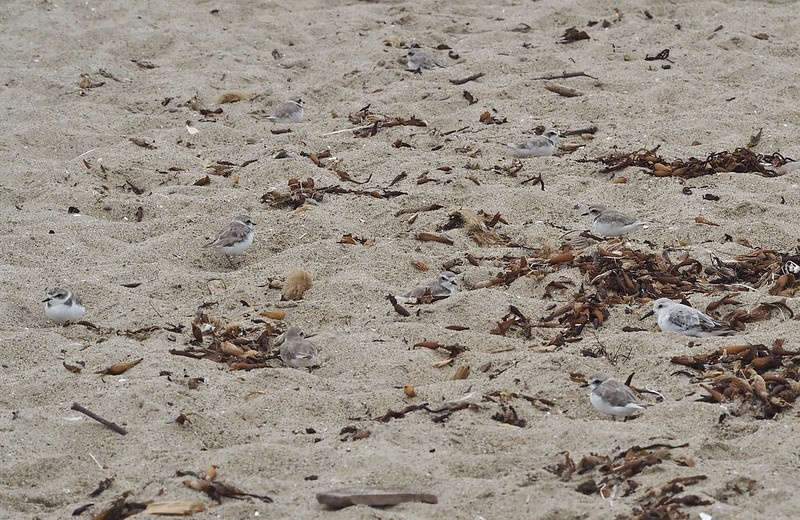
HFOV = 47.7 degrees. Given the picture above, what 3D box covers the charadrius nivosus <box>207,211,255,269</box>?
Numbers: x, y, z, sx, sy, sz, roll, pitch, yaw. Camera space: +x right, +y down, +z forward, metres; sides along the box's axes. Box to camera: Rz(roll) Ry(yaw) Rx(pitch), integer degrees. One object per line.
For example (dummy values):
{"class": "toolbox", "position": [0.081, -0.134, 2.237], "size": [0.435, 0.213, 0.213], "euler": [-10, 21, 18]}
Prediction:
{"class": "charadrius nivosus", "position": [-1.854, -0.200, 9.195], "size": [0.722, 0.452, 0.334], "euler": [-8, 17, -19]}
